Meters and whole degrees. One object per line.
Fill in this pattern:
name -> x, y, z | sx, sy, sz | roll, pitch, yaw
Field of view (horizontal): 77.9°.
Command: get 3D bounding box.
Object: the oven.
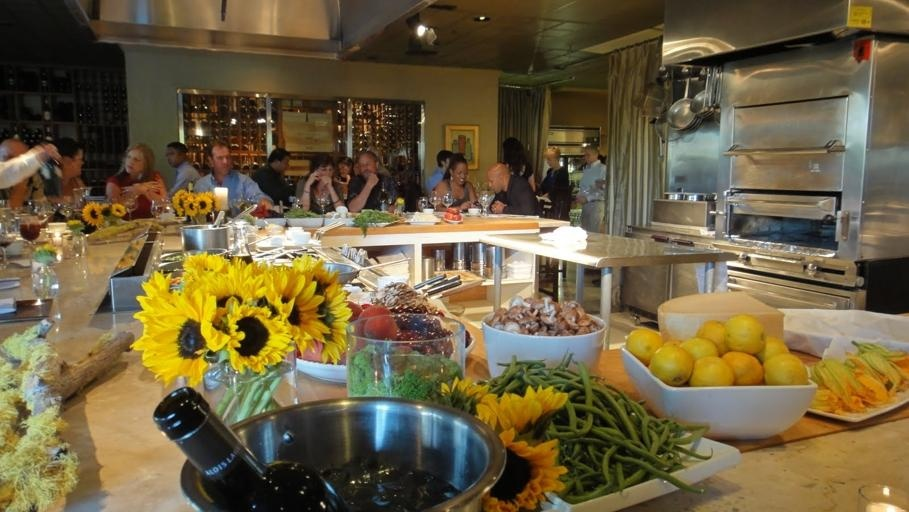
oven -> 3.032, -0.403, 4.822 | 1.202, 1.966, 1.309 | -16, 16, -35

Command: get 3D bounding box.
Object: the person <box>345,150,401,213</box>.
person -> -0.995, -0.840, 6.732 | 0.751, 0.882, 0.704 | 2, 15, -1

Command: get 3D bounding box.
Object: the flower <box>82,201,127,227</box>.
flower -> -2.577, -0.342, 4.069 | 0.243, 0.091, 0.239 | 14, 13, 20

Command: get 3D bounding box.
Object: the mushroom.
mushroom -> 0.284, 0.176, 1.756 | 0.198, 0.159, 0.277 | 0, 3, -6

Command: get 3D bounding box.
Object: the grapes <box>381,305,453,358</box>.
grapes -> -0.088, 0.187, 1.434 | 0.177, 0.093, 0.127 | -2, 8, -32

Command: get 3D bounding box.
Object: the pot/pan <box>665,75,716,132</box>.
pot/pan -> 2.497, -1.601, 5.868 | 0.310, 0.584, 0.703 | 1, 13, -4

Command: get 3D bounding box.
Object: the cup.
cup -> -0.130, 0.206, 1.403 | 0.173, 0.237, 0.220 | 5, 3, 40

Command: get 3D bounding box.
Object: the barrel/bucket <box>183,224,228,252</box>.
barrel/bucket -> -1.191, -0.085, 2.691 | 0.140, 0.079, 0.132 | 1, 7, 0

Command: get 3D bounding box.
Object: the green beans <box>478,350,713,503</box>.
green beans -> 0.372, 0.444, 1.427 | 0.484, 0.241, 0.316 | 7, 14, 21

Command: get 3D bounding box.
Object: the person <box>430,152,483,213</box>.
person -> 0.020, -0.813, 6.568 | 0.322, 0.974, 0.359 | -1, 3, -26

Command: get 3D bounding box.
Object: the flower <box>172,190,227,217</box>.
flower -> -1.894, -0.345, 4.168 | 0.360, 0.170, 0.346 | -3, 2, -35
